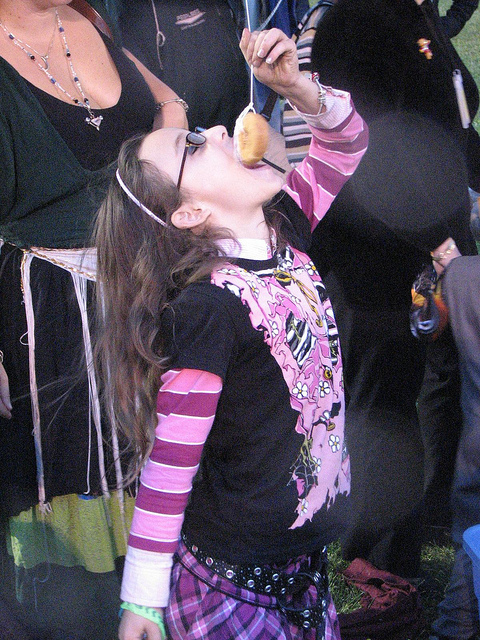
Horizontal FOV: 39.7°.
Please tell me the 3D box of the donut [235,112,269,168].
[{"bbox_3d":[0.020,-0.334,1.233,0.059,0.099,0.091,7,15,-2],"label":"donut"}]
